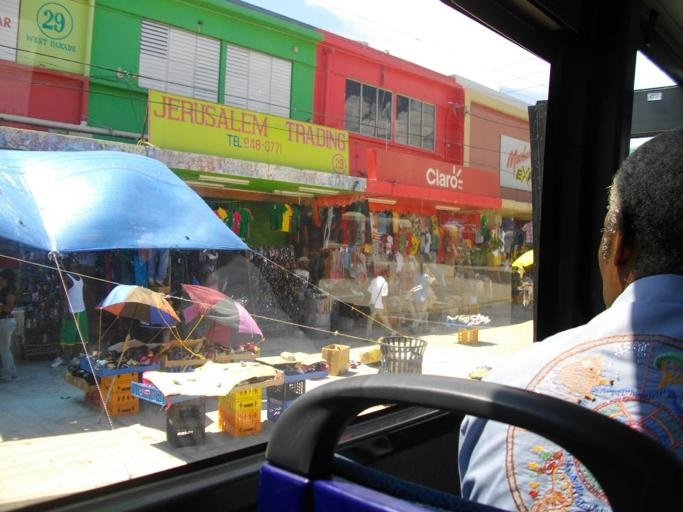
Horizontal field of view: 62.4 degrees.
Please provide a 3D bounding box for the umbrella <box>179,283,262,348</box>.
[{"bbox_3d":[-0.921,0.424,4.134,0.404,0.462,1.293,-5,4,-27],"label":"umbrella"}]

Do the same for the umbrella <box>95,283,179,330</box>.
[{"bbox_3d":[-1.521,0.377,4.209,0.519,0.389,0.689,-4,4,-15],"label":"umbrella"}]

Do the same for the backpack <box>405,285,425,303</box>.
[{"bbox_3d":[0.789,0.385,5.835,0.185,0.216,0.433,-3,4,4],"label":"backpack"}]

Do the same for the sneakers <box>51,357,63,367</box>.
[{"bbox_3d":[-2.008,0.742,3.957,0.045,0.059,0.141,2,-5,-9],"label":"sneakers"}]

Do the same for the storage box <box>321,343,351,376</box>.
[{"bbox_3d":[-0.034,0.494,2.785,0.113,0.172,0.166,-1,-1,24],"label":"storage box"}]

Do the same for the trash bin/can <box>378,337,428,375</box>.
[{"bbox_3d":[0.312,0.437,2.864,0.246,0.201,0.259,1,-1,-5],"label":"trash bin/can"}]

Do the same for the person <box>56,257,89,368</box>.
[{"bbox_3d":[-2.001,0.355,4.125,0.230,0.744,0.877,-5,4,-25],"label":"person"}]

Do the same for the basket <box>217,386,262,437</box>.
[{"bbox_3d":[-0.461,0.677,2.515,0.205,0.206,0.156,-3,4,0],"label":"basket"}]
